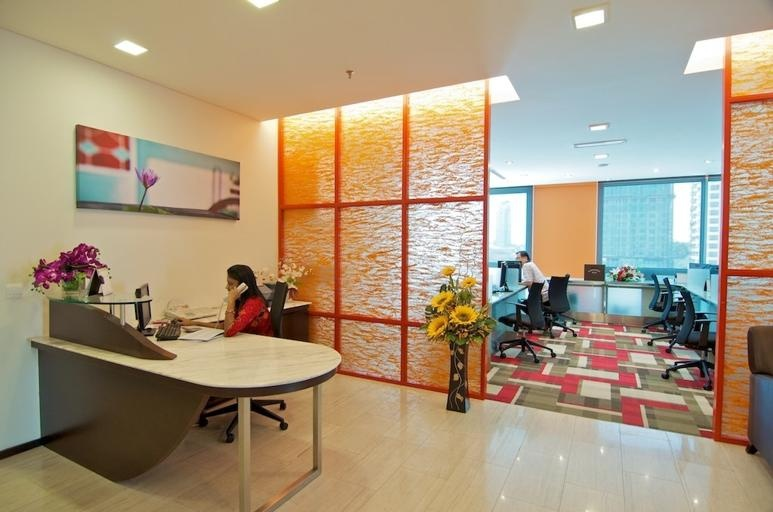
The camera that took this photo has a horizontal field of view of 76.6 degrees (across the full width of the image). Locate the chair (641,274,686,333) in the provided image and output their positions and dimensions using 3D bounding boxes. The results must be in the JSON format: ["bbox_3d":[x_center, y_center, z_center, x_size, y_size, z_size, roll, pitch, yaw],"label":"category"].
[{"bbox_3d":[5.239,0.891,9.082,0.791,1.004,0.862,9,2,26],"label":"chair"}]

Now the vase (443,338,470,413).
[{"bbox_3d":[0.865,1.477,5.944,0.280,0.823,0.169,0,1,10],"label":"vase"}]

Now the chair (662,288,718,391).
[{"bbox_3d":[4.422,1.154,6.814,0.865,1.132,0.898,2,-5,22],"label":"chair"}]

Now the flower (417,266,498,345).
[{"bbox_3d":[0.908,0.630,6.197,1.018,0.951,0.996,-1,-1,-24],"label":"flower"}]

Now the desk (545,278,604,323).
[{"bbox_3d":[3.705,0.886,9.628,0.991,0.852,0.541,2,4,31],"label":"desk"}]

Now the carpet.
[{"bbox_3d":[3.143,1.747,7.197,2.676,0.514,3.319,0,0,25],"label":"carpet"}]

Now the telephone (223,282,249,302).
[{"bbox_3d":[-1.608,0.414,5.313,0.220,0.243,0.305,0,0,-17],"label":"telephone"}]

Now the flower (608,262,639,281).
[{"bbox_3d":[4.956,0.362,10.279,0.461,0.229,0.438,-1,0,6],"label":"flower"}]

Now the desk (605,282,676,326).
[{"bbox_3d":[5.058,1.176,10.177,1.081,0.932,0.795,5,-36,17],"label":"desk"}]

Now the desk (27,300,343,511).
[{"bbox_3d":[-1.977,1.504,4.801,3.071,1.314,0.973,0,1,23],"label":"desk"}]

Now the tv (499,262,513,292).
[{"bbox_3d":[2.309,0.437,9.464,0.198,0.497,0.531,2,-3,18],"label":"tv"}]

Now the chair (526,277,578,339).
[{"bbox_3d":[3.062,0.870,9.036,0.770,0.926,0.788,0,1,34],"label":"chair"}]

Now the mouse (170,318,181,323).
[{"bbox_3d":[-2.306,0.719,5.374,0.058,0.053,0.101,6,9,38],"label":"mouse"}]

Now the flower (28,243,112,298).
[{"bbox_3d":[-3.281,0.174,5.169,0.679,0.430,0.643,17,14,40],"label":"flower"}]

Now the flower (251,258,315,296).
[{"bbox_3d":[-1.483,0.320,6.955,0.557,0.312,0.547,-3,-6,28],"label":"flower"}]

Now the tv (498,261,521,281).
[{"bbox_3d":[2.440,0.279,9.707,0.523,0.468,0.380,-1,-3,30],"label":"tv"}]

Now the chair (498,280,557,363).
[{"bbox_3d":[2.264,1.032,7.974,1.001,1.134,0.909,0,-4,33],"label":"chair"}]
